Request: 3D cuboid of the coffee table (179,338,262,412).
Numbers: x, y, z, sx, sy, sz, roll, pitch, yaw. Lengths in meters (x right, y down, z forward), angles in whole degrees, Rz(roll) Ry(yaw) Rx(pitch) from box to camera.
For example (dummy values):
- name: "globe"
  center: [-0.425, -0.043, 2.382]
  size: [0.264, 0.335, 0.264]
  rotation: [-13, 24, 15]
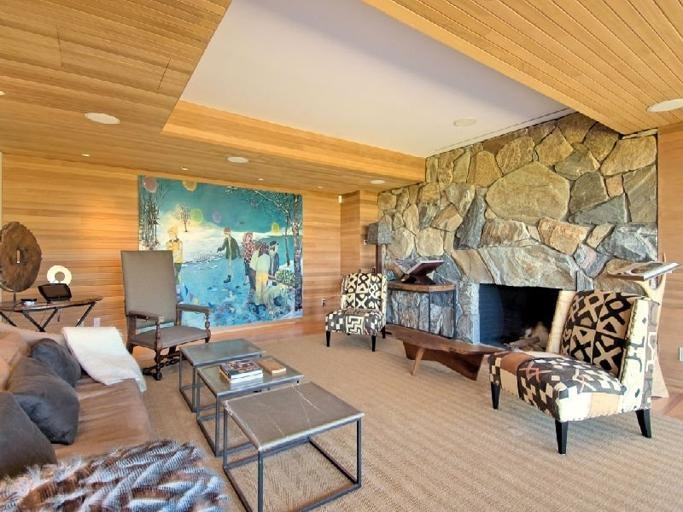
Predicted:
- name: "coffee table"
  center: [-1.060, 0.877, 3.646]
  size: [0.748, 0.440, 0.503]
  rotation: [2, 0, -38]

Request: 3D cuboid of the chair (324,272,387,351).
- name: "chair"
  center: [0.211, 0.643, 5.332]
  size: [0.640, 0.792, 0.692]
  rotation: [0, 4, 22]

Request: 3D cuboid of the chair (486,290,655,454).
- name: "chair"
  center: [1.735, 0.777, 3.188]
  size: [0.936, 0.997, 0.705]
  rotation: [-5, 14, -20]

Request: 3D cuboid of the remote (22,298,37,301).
- name: "remote"
  center: [-3.140, 0.448, 4.318]
  size: [0.100, 0.021, 0.095]
  rotation: [1, 0, -1]

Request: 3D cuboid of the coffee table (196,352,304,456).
- name: "coffee table"
  center: [-0.787, 1.012, 3.162]
  size: [0.664, 0.404, 0.664]
  rotation: [1, -1, -34]

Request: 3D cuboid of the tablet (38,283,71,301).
- name: "tablet"
  center: [-2.952, 0.367, 4.400]
  size: [0.193, 0.234, 0.279]
  rotation: [4, -2, 41]

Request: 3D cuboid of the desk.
- name: "desk"
  center: [0.945, 0.688, 5.627]
  size: [0.424, 0.623, 1.046]
  rotation: [4, -2, -31]
